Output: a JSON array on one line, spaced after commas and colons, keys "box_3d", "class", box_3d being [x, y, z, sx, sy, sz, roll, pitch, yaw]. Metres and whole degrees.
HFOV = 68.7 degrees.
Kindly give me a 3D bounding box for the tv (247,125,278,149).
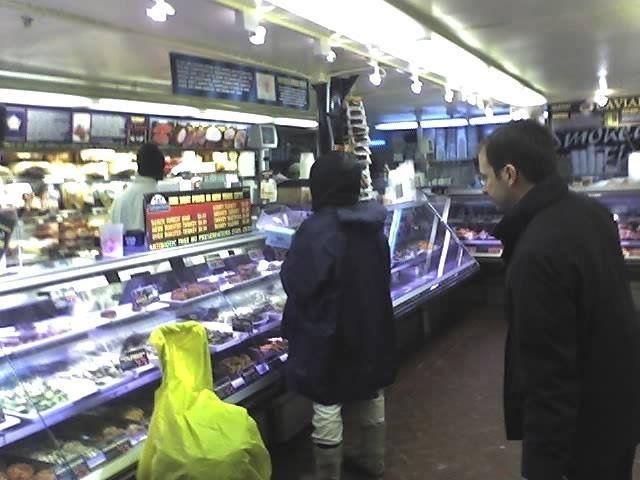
[{"box_3d": [-0.543, -1.021, 4.635, 0.241, 0.267, 0.269, 6, 13, 23], "class": "tv"}]
